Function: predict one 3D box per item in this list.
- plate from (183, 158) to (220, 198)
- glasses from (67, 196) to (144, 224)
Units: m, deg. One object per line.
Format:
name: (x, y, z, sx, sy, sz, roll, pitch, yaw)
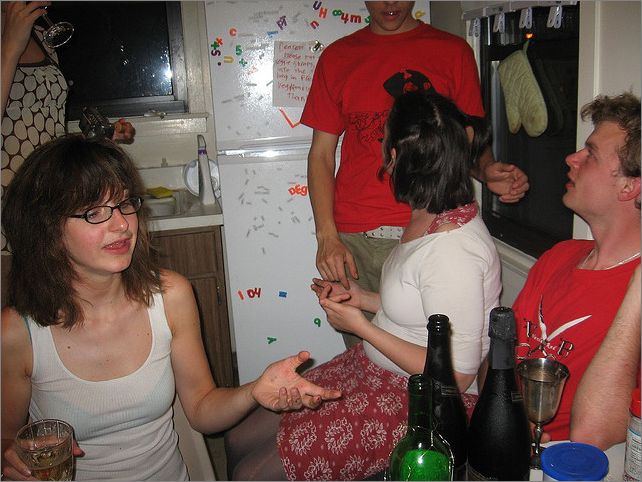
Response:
plate: (-0.685, -0.377, 2.815, 0.039, 0.239, 0.230, -8, 7, -43)
glasses: (-0.539, -0.080, 1.232, 0.063, 0.053, 0.186, 4, 15, 37)
